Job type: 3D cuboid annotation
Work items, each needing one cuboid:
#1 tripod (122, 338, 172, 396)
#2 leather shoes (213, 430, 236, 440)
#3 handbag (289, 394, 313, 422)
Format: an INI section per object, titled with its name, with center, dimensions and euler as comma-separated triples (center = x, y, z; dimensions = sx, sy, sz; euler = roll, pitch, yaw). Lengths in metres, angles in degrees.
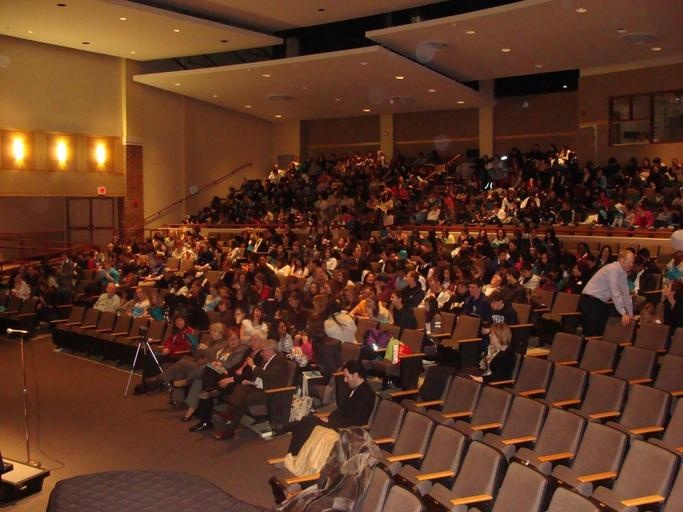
[tripod]
center = -3.329, 1.963, 9.137
dimensions = 0.696, 1.043, 0.798
euler = 20, 19, 41
[leather shoes]
center = -1.558, 2.429, 7.084
dimensions = 0.280, 0.180, 0.108
euler = 15, -19, -18
[handbag]
center = -0.562, 2.060, 6.990
dimensions = 0.169, 0.395, 0.389
euler = -8, 8, -40
